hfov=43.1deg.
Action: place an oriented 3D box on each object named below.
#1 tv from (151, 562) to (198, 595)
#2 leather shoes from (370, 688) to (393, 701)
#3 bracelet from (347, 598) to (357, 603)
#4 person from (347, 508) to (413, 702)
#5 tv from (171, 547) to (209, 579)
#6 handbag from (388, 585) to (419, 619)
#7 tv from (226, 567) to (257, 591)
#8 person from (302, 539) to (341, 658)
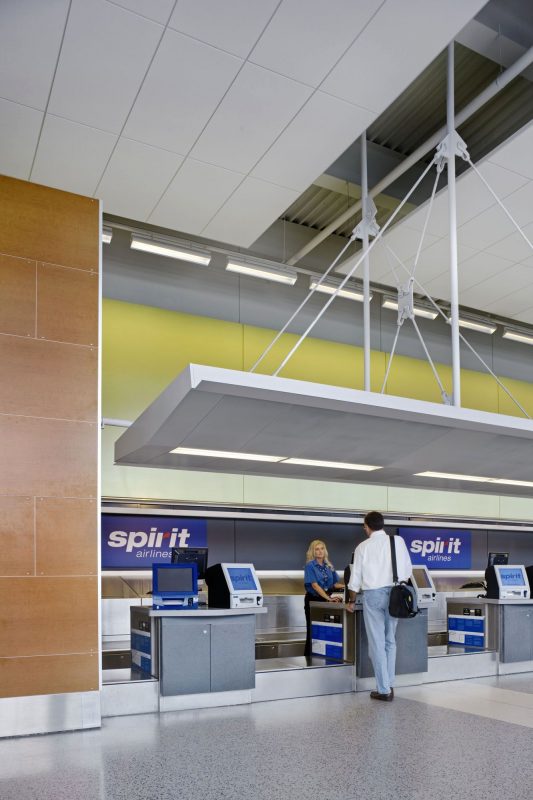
[{"bbox_3d":[-0.723,1.450,5.374,0.394,0.311,0.231,3,-30,-10],"label":"tv"},{"bbox_3d":[0.943,2.386,5.465,0.079,0.088,0.191,5,-8,-25],"label":"leather shoes"},{"bbox_3d":[0.743,1.738,5.839,0.063,0.048,0.092,-3,-6,28],"label":"bracelet"},{"bbox_3d":[0.948,1.696,5.608,0.516,1.509,0.366,-1,-13,7],"label":"person"},{"bbox_3d":[-0.682,1.457,5.978,0.366,0.348,0.131,7,-10,-36],"label":"tv"},{"bbox_3d":[1.093,1.626,5.401,0.230,0.326,0.227,-3,-9,-2],"label":"handbag"},{"bbox_3d":[-0.201,1.521,5.729,0.284,0.194,0.258,7,-15,-26],"label":"tv"},{"bbox_3d":[0.570,2.023,6.863,0.357,1.132,0.854,0,-13,3],"label":"person"}]
